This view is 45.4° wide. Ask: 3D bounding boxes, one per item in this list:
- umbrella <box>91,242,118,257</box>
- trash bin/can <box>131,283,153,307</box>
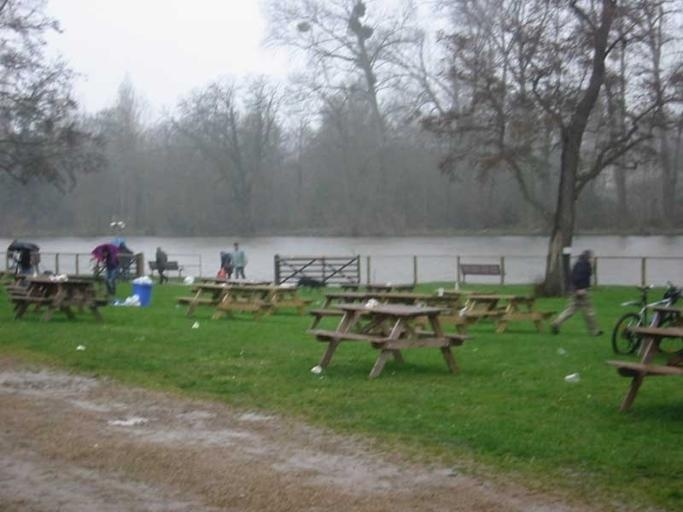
[{"bbox_3d":[-7.723,-0.145,26.683,0.821,0.588,0.574,6,12,32],"label":"umbrella"},{"bbox_3d":[-6.189,1.166,25.502,0.823,0.822,0.631,0,-4,-15],"label":"trash bin/can"}]
